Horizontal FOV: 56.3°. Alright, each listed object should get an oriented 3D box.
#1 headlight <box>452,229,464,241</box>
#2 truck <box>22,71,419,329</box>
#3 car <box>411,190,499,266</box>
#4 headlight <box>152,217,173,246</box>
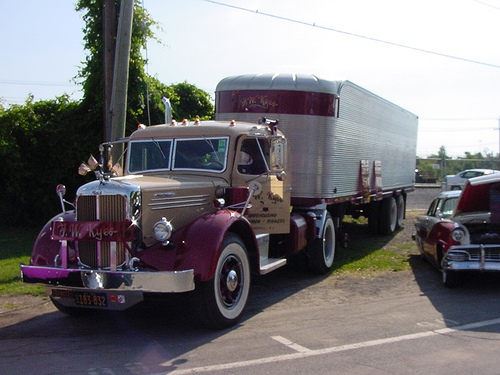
[{"bbox_3d":[3.888,0.890,8.728,0.200,0.209,0.124,1,2,24],"label":"headlight"},{"bbox_3d":[0.577,-0.052,10.588,3.295,4.066,9.786,-5,1,39],"label":"truck"},{"bbox_3d":[4.303,0.975,10.047,0.915,1.659,3.050,1,1,7],"label":"car"},{"bbox_3d":[-1.188,0.571,6.311,0.260,0.396,0.229,2,10,-9],"label":"headlight"}]
